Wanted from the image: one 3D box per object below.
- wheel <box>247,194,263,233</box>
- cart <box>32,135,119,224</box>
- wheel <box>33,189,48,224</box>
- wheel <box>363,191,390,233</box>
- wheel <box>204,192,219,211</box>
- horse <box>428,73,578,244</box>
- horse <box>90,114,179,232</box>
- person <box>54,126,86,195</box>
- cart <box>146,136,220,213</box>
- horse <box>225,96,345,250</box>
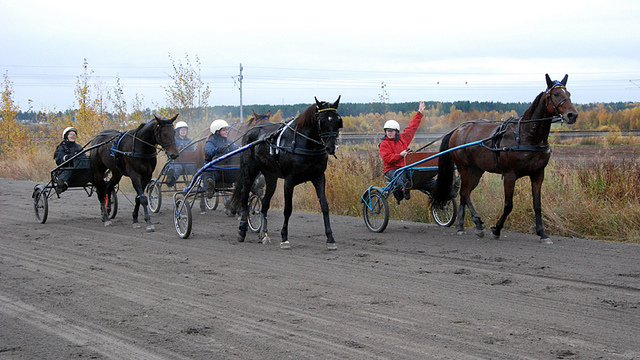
[{"bbox_3d":[-1.541,0.798,13.374,0.302,0.888,1.028,-3,13,-8],"label":"wheel"},{"bbox_3d":[-6.989,0.237,15.533,1.792,1.769,2.883,-1,-6,-39],"label":"cart"},{"bbox_3d":[-7.078,0.661,14.422,0.295,0.742,1.022,-9,15,-30],"label":"wheel"},{"bbox_3d":[1.378,0.716,13.849,0.243,1.314,1.415,13,38,10],"label":"wheel"},{"bbox_3d":[-3.148,0.664,16.594,0.154,0.602,0.637,-9,-5,6],"label":"wheel"},{"bbox_3d":[4.071,-0.391,12.835,1.261,3.432,4.812,-2,2,-22],"label":"horse"},{"bbox_3d":[-4.904,-0.114,14.536,4.127,2.619,1.032,1,0,45],"label":"horse"},{"bbox_3d":[-6.538,-0.457,14.807,0.806,1.742,0.928,-7,15,-22],"label":"person"},{"bbox_3d":[-3.777,-0.056,17.074,1.778,2.478,2.737,-2,8,-35],"label":"cart"},{"bbox_3d":[-0.714,-0.163,12.129,2.718,3.160,1.121,9,17,37],"label":"horse"}]
